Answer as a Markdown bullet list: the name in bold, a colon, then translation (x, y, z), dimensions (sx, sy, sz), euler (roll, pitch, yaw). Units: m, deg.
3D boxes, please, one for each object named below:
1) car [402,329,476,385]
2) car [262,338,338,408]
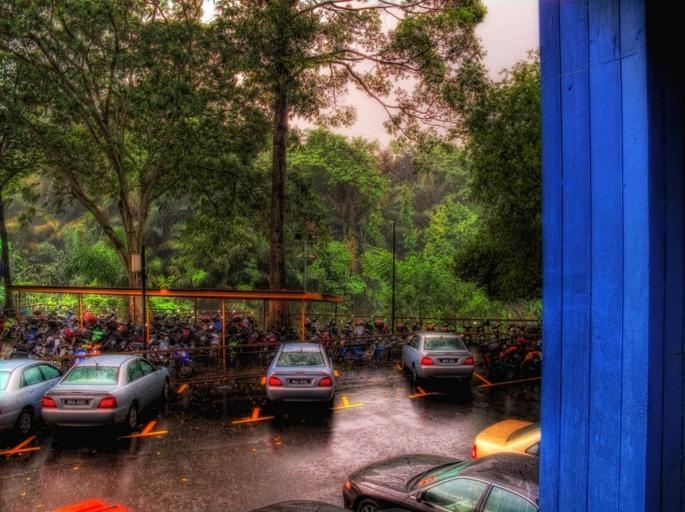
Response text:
- **car**: translation (2.598, 2.965, 17.711), dimensions (1.368, 1.519, 2.264), euler (0, 2, -19)
- **car**: translation (-1.083, 2.827, 14.776), dimensions (1.120, 1.133, 2.953), euler (1, 0, -3)
